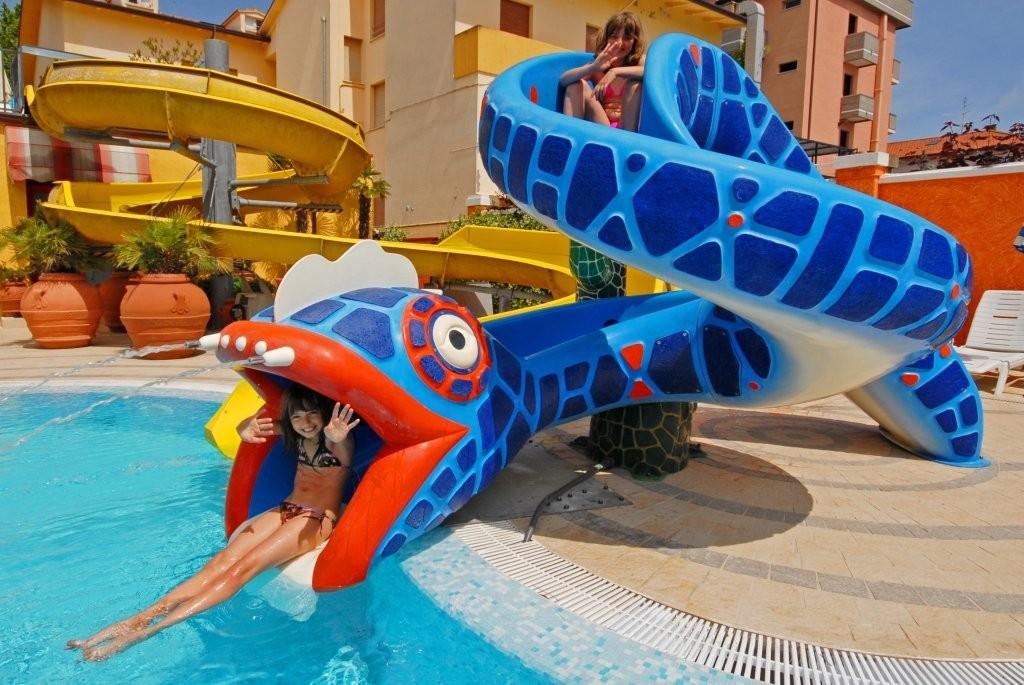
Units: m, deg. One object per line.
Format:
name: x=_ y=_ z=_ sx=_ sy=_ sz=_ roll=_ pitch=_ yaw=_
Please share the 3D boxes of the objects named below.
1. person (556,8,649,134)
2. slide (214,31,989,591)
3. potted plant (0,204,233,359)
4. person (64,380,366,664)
person: x=0.761 y=-2.128 z=5.768 sx=0.702 sy=1.316 sz=0.741 roll=9 pitch=2 yaw=7
slide: x=1.149 y=-0.483 z=5.828 sx=5.665 sy=3.204 sz=3.779 roll=-6 pitch=16 yaw=-2
potted plant: x=-6.913 y=-1.080 z=12.061 sx=3.591 sy=2.305 sz=1.993 roll=8 pitch=11 yaw=33
person: x=-2.019 y=1.020 z=4.778 sx=2.108 sy=1.128 sz=1.017 roll=-26 pitch=41 yaw=-34
